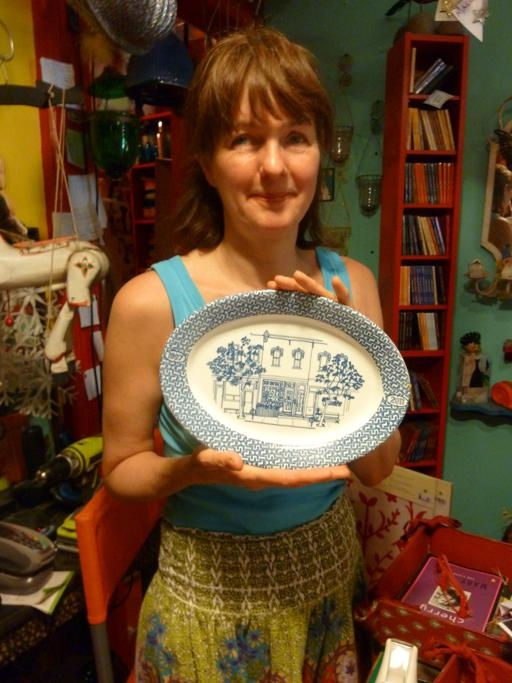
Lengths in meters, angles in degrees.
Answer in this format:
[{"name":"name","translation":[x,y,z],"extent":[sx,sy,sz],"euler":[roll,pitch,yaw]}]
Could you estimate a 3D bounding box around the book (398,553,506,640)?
[{"name":"book","translation":[0.411,0.524,1.199],"extent":[0.135,0.030,0.136],"euler":[3,18,29]}]
